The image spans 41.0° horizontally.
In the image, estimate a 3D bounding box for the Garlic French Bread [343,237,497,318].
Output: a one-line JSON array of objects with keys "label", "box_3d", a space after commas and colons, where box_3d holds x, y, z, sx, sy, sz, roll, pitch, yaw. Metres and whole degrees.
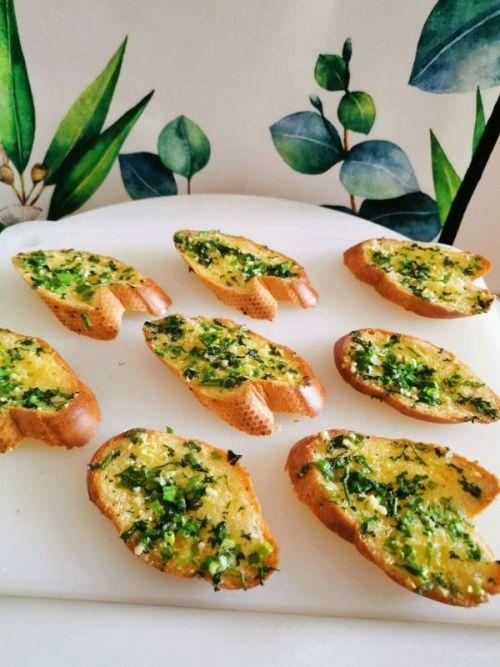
[{"label": "Garlic French Bread", "box_3d": [0.515, -0.124, 2.056, 0.367, 0.079, 0.273, 21, 36, 23]}]

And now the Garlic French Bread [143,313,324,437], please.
[{"label": "Garlic French Bread", "box_3d": [-0.065, 0.147, 1.817, 0.487, 0.086, 0.253, 30, 45, 22]}]

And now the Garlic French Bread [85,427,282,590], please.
[{"label": "Garlic French Bread", "box_3d": [-0.161, 0.410, 1.542, 0.418, 0.281, 0.313, 1, 19, -12]}]

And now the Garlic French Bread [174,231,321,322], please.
[{"label": "Garlic French Bread", "box_3d": [-0.040, -0.183, 2.012, 0.464, 0.087, 0.224, 27, 44, 22]}]

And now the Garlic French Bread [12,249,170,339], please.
[{"label": "Garlic French Bread", "box_3d": [-0.472, -0.130, 1.922, 0.432, 0.082, 0.245, 26, 40, 19]}]
